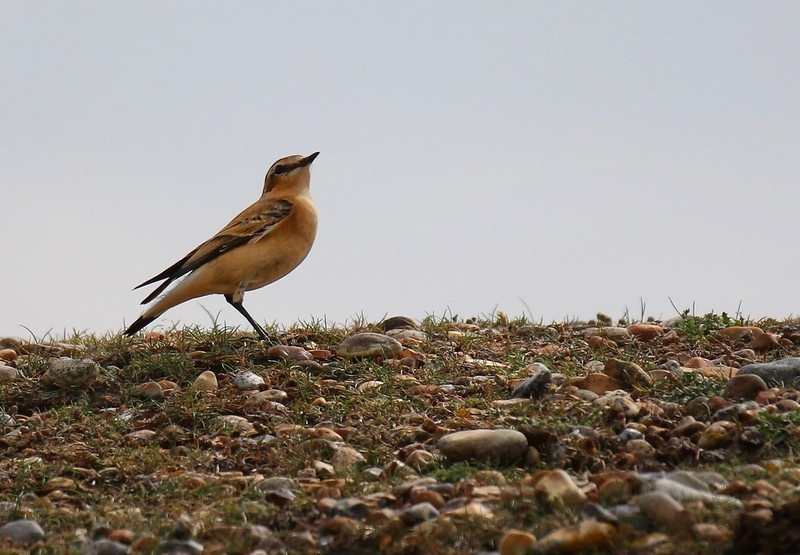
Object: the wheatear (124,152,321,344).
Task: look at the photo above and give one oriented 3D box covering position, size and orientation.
[{"bbox_3d":[-1.570,-0.223,8.348,2.046,1.363,0.683,-15,-8,3],"label":"wheatear"}]
